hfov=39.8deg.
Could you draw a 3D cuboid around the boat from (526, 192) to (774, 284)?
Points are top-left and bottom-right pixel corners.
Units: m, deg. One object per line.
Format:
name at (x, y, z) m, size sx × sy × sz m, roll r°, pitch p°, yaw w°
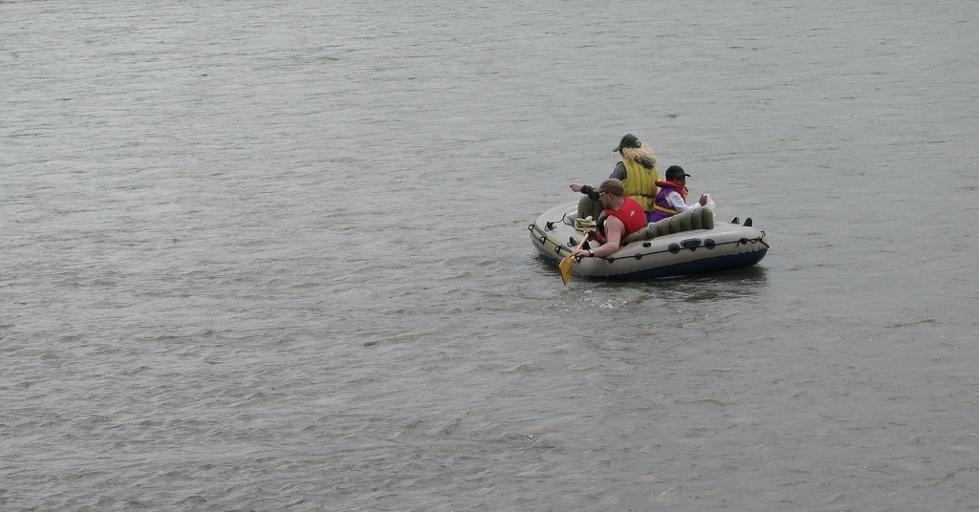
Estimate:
boat at (4.557, -0.833, 39.029) m, size 5.727 × 1.064 × 6.081 m, roll -12°, pitch 21°, yaw -12°
